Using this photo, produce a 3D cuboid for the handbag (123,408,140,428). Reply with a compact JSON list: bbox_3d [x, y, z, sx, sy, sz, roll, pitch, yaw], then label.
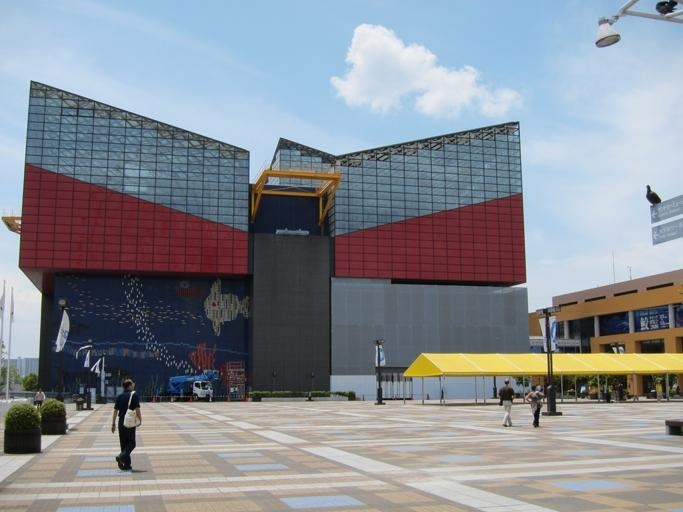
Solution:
[{"bbox_3d":[-5.966,4.649,20.453,0.531,0.534,0.390,-1,-4,20],"label":"handbag"}]
